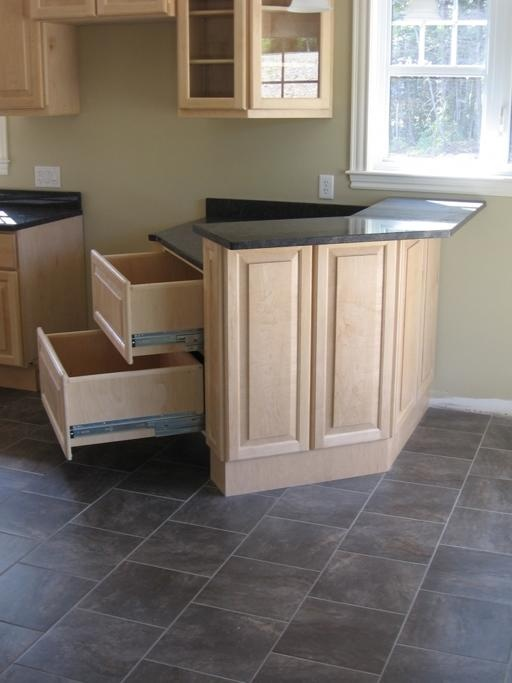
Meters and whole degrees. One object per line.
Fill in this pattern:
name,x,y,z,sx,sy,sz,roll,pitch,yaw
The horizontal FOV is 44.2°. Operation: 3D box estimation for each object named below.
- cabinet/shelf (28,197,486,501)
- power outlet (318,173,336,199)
cabinet/shelf,0.042,-0.008,2.398,1.579,0.795,1.127,-4,15,-20
power outlet,0.340,-0.749,3.014,0.121,0.165,0.018,4,13,25
